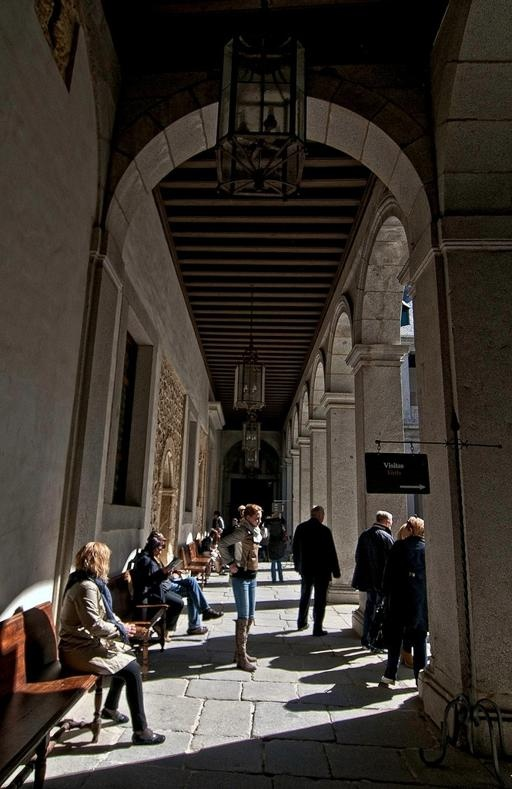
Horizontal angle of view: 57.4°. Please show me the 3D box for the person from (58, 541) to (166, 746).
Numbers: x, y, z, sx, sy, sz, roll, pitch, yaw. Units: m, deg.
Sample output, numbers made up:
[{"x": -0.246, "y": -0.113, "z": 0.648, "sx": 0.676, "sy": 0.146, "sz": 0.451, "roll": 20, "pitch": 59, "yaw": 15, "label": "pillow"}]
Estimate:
[{"x": -0.809, "y": 1.342, "z": 2.606, "sx": 0.468, "sy": 1.133, "sz": 0.354, "roll": -1, "pitch": 2, "yaw": 7, "label": "person"}]

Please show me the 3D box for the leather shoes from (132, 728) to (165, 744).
[{"x": -0.577, "y": 1.751, "z": 2.449, "sx": 0.134, "sy": 0.083, "sz": 0.086, "roll": 3, "pitch": -18, "yaw": -6, "label": "leather shoes"}]

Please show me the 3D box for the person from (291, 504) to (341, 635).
[{"x": 0.773, "y": 2.150, "z": 5.834, "sx": 0.470, "sy": 1.512, "sz": 0.781, "roll": 4, "pitch": -13, "yaw": -13, "label": "person"}]

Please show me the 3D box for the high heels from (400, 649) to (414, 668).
[{"x": 1.474, "y": 2.548, "z": 4.543, "sx": 0.087, "sy": 0.122, "sz": 0.315, "roll": -1, "pitch": -36, "yaw": 3, "label": "high heels"}]

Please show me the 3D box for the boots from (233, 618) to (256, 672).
[{"x": -0.087, "y": 2.248, "z": 4.315, "sx": 0.189, "sy": 0.412, "sz": 0.578, "roll": 1, "pitch": -16, "yaw": 0, "label": "boots"}]

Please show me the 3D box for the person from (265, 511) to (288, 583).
[{"x": 0.487, "y": 3.615, "z": 11.236, "sx": 0.418, "sy": 1.616, "sz": 1.482, "roll": 1, "pitch": -15, "yaw": 2, "label": "person"}]

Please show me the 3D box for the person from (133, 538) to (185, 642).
[{"x": -0.949, "y": 1.840, "z": 4.512, "sx": 0.372, "sy": 1.001, "sz": 0.374, "roll": -2, "pitch": 1, "yaw": 5, "label": "person"}]

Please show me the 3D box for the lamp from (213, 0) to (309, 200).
[{"x": 0.024, "y": -1.595, "z": 2.403, "sx": 0.461, "sy": 1.366, "sz": 0.421, "roll": 0, "pitch": -12, "yaw": 5, "label": "lamp"}]

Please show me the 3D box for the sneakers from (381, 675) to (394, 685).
[{"x": 1.078, "y": 2.300, "z": 3.784, "sx": 0.112, "sy": 0.083, "sz": 0.127, "roll": -3, "pitch": -17, "yaw": 16, "label": "sneakers"}]

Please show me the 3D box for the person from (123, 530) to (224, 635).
[{"x": -0.848, "y": 1.979, "z": 4.947, "sx": 0.746, "sy": 1.357, "sz": 0.495, "roll": -7, "pitch": 8, "yaw": 11, "label": "person"}]
